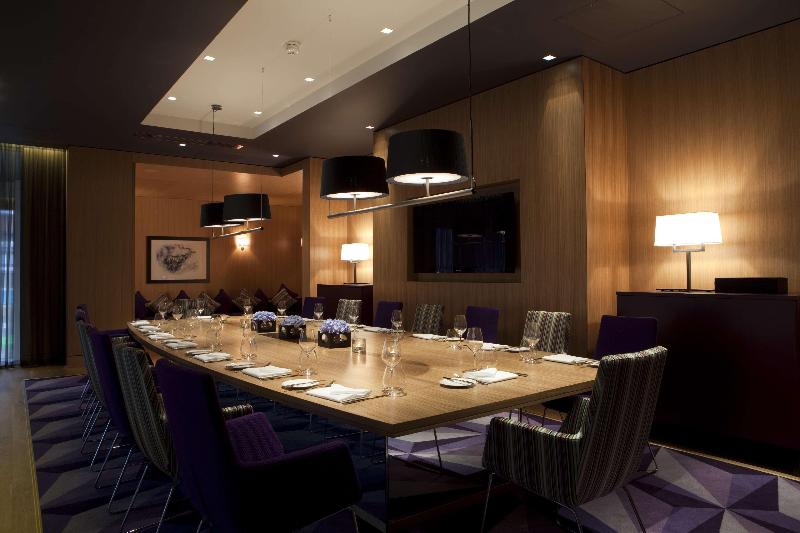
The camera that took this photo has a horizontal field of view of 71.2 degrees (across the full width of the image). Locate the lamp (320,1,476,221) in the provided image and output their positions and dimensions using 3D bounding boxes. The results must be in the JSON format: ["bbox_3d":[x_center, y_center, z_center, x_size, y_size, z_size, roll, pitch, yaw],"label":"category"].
[{"bbox_3d":[0.020,-1.884,6.487,0.625,2.007,1.871,8,-11,-42],"label":"lamp"}]

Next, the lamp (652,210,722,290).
[{"bbox_3d":[3.094,-0.187,5.989,0.349,1.130,0.838,1,-1,-40],"label":"lamp"}]

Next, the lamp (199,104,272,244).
[{"bbox_3d":[-2.862,-1.703,9.686,0.974,2.025,1.694,-4,2,-43],"label":"lamp"}]

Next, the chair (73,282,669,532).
[{"bbox_3d":[-0.194,1.204,4.625,4.215,1.495,1.937,1,2,35],"label":"chair"}]

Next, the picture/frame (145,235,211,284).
[{"bbox_3d":[-5.240,-0.174,13.042,1.049,0.903,0.038,-2,2,-44],"label":"picture/frame"}]
